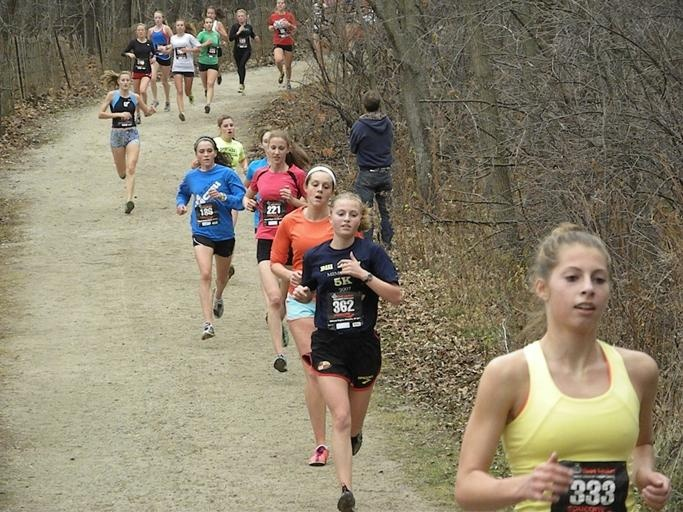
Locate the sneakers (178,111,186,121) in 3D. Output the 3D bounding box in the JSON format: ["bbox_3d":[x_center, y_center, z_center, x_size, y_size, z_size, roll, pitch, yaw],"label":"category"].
[{"bbox_3d":[-3.829,-3.271,18.708,0.106,0.281,0.124,3,48,1],"label":"sneakers"}]

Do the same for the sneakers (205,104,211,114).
[{"bbox_3d":[-3.324,-3.561,19.342,0.110,0.115,0.260,8,-26,-7],"label":"sneakers"}]

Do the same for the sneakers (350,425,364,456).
[{"bbox_3d":[0.110,1.493,6.348,0.092,0.117,0.275,-2,36,18],"label":"sneakers"}]

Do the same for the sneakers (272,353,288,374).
[{"bbox_3d":[-0.617,1.086,7.926,0.098,0.250,0.118,2,48,1],"label":"sneakers"}]

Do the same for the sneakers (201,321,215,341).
[{"bbox_3d":[-1.499,0.837,8.721,0.121,0.215,0.219,-2,9,-13],"label":"sneakers"}]

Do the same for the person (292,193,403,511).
[{"bbox_3d":[0.062,0.733,6.043,0.725,2.395,0.932,-3,9,-21],"label":"person"}]

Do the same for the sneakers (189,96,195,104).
[{"bbox_3d":[-3.959,-4.094,20.652,0.148,0.277,0.145,-6,0,-6],"label":"sneakers"}]

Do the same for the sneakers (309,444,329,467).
[{"bbox_3d":[-0.191,1.638,6.484,0.111,0.109,0.237,1,-7,1],"label":"sneakers"}]

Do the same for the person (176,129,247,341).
[{"bbox_3d":[-1.507,-0.254,9.033,0.814,2.169,0.736,8,12,44],"label":"person"}]

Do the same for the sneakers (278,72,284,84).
[{"bbox_3d":[-1.703,-4.944,21.837,0.150,0.184,0.467,4,39,6],"label":"sneakers"}]

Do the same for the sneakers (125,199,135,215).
[{"bbox_3d":[-3.597,-0.823,13.380,0.125,0.150,0.333,12,-38,-22],"label":"sneakers"}]

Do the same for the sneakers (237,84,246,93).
[{"bbox_3d":[-2.857,-4.707,22.259,0.150,0.198,0.441,1,24,2],"label":"sneakers"}]

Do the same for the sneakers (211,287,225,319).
[{"bbox_3d":[-1.495,0.580,9.502,0.121,0.382,0.145,-3,12,-3],"label":"sneakers"}]

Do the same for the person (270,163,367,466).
[{"bbox_3d":[-0.228,0.454,6.688,0.755,2.418,0.742,0,-11,-20],"label":"person"}]
